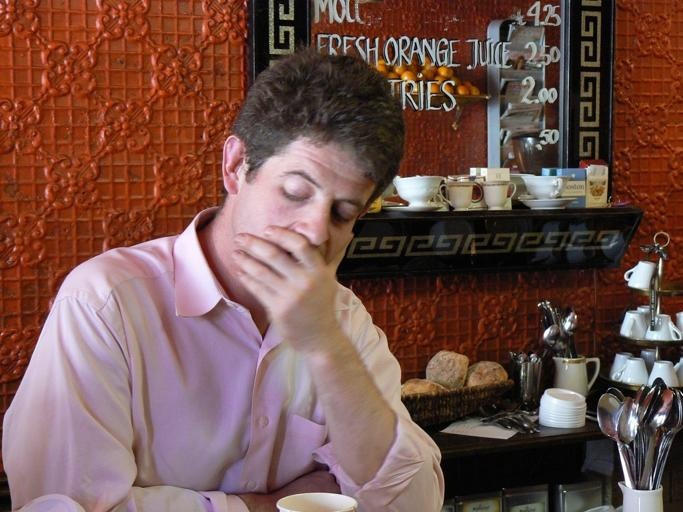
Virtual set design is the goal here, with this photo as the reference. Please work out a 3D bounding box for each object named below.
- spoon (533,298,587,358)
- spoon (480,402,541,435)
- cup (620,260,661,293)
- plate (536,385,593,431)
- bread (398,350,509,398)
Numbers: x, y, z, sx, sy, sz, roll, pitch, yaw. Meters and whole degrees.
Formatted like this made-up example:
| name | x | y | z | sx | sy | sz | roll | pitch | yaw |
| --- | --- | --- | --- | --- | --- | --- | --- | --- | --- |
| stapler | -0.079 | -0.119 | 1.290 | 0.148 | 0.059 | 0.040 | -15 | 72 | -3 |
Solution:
| name | x | y | z | sx | sy | sz | roll | pitch | yaw |
| --- | --- | --- | --- | --- | --- | --- | --- | --- | --- |
| spoon | 1.011 | 0.332 | 3.416 | 0.187 | 0.208 | 0.682 | -1 | -7 | 15 |
| spoon | 0.718 | 0.695 | 3.098 | 0.095 | 0.064 | 0.173 | -5 | -4 | -34 |
| cup | 1.393 | 0.094 | 3.434 | 0.162 | 0.152 | 0.104 | 22 | -2 | 41 |
| plate | 0.934 | 0.650 | 3.114 | 0.148 | 0.112 | 0.158 | 0 | 3 | 0 |
| bread | 0.464 | 0.518 | 3.155 | 0.262 | 0.083 | 0.263 | 6 | 15 | 39 |
